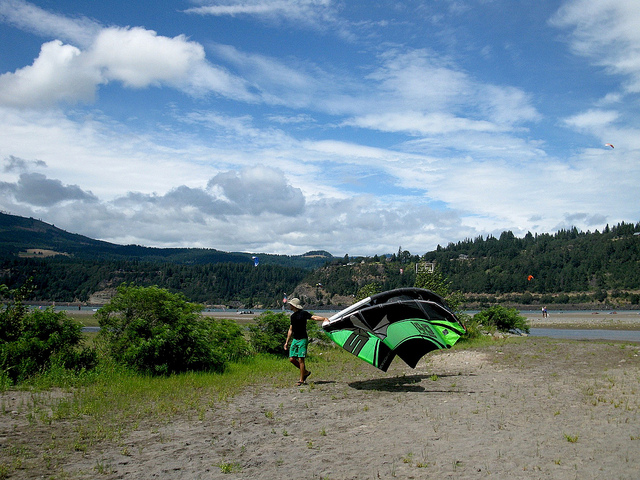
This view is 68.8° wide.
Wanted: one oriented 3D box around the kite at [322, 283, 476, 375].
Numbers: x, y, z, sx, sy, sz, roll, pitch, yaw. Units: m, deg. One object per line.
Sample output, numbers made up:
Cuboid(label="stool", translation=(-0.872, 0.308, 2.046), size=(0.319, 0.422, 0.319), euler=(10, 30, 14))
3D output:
Cuboid(label="kite", translation=(3.403, 2.853, 18.535), size=(5.886, 4.849, 2.047), euler=(12, 36, -5))

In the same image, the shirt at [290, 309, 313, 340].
Cuboid(label="shirt", translation=(-0.675, 2.908, 16.195), size=(0.706, 1.026, 0.501), euler=(2, -3, -15))

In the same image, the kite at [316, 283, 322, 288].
Cuboid(label="kite", translation=(0.339, 26.745, 276.772), size=(2.612, 2.137, 1.786), euler=(-2, -4, 45))

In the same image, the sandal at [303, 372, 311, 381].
Cuboid(label="sandal", translation=(-0.506, 4.863, 16.779), size=(0.131, 0.405, 0.177), euler=(42, 12, 23))

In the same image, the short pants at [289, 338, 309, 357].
Cuboid(label="short pants", translation=(-0.745, 3.746, 16.294), size=(0.580, 0.678, 0.520), euler=(1, -3, -7))

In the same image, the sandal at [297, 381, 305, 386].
Cuboid(label="sandal", translation=(-0.669, 5.161, 16.869), size=(0.236, 0.127, 0.258), euler=(1, -3, -8))
